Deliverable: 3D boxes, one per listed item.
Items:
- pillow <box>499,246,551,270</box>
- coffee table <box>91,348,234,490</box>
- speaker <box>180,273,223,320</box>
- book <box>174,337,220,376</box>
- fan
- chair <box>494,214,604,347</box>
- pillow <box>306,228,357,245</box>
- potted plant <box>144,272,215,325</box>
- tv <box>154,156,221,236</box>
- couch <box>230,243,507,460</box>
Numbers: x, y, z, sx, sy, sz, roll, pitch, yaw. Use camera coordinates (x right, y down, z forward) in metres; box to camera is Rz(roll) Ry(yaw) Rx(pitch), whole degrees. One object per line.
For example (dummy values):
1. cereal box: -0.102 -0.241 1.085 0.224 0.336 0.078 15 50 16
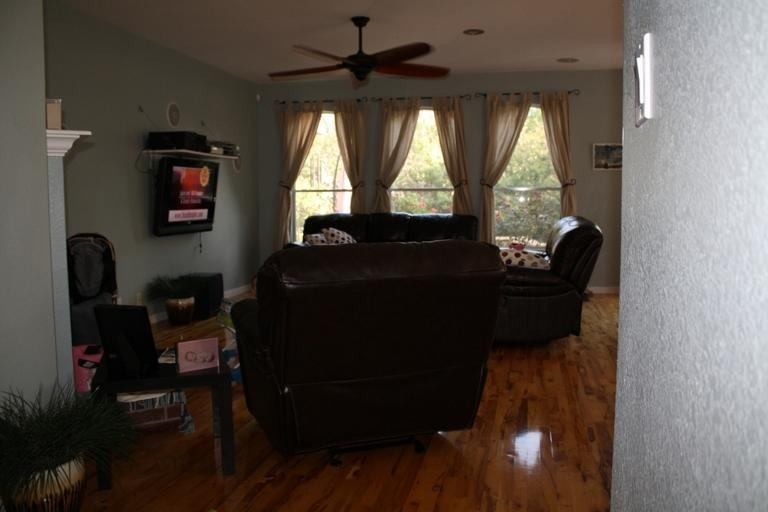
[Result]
1. pillow: 1.114 0.017 4.584 0.337 0.097 0.350 3 11 5
2. coffee table: -0.871 0.693 2.349 0.508 0.417 0.541 -2 2 -9
3. speaker: -1.855 0.416 5.801 0.271 0.531 0.365 -3 9 -13
4. book: -0.831 0.453 2.561 0.140 0.125 0.045 -1 -5 -30
5. fan: -0.226 -1.936 5.242 0.827 0.331 0.891 1 3 26
6. chair: 1.290 0.261 4.795 0.831 0.911 1.276 -1 1 9
7. pillow: -0.555 -0.219 5.796 0.438 0.125 1.100 0 6 -2
8. potted plant: -2.033 0.416 5.919 0.505 0.464 0.720 1 6 9
9. tv: -2.069 -0.643 5.964 0.153 0.770 0.839 8 6 16
10. couch: -0.123 0.321 2.678 1.013 0.930 0.907 -2 3 -21
